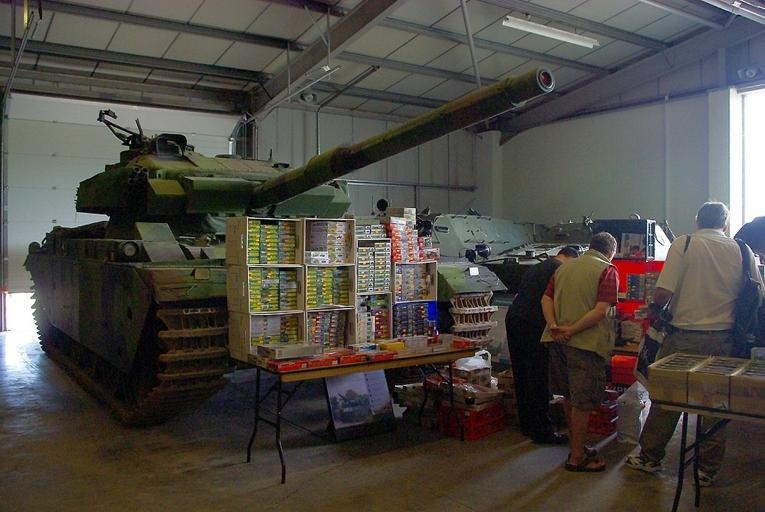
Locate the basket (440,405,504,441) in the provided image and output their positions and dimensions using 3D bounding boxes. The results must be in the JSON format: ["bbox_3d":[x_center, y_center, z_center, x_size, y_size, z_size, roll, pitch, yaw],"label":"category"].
[{"bbox_3d":[1.117,2.131,7.867,0.445,0.270,0.658,-3,-4,30],"label":"basket"}]

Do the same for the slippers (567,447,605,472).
[{"bbox_3d":[2.292,2.310,6.913,0.405,0.163,0.207,-2,0,-12],"label":"slippers"}]

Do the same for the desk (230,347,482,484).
[{"bbox_3d":[-0.648,1.682,7.635,2.878,1.383,2.305,5,10,35],"label":"desk"}]

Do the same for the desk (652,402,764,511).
[{"bbox_3d":[3.176,2.054,6.286,1.110,1.045,1.154,-5,-9,40],"label":"desk"}]

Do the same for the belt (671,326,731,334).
[{"bbox_3d":[3.476,0.845,6.681,0.613,0.085,0.098,1,8,14],"label":"belt"}]

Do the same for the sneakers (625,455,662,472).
[{"bbox_3d":[2.935,2.347,6.858,0.353,0.163,0.168,8,1,32],"label":"sneakers"}]

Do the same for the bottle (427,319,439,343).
[{"bbox_3d":[0.753,1.019,8.333,0.171,0.288,0.173,-1,2,0],"label":"bottle"}]

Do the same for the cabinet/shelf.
[{"bbox_3d":[-0.717,0.396,7.569,1.754,1.198,0.490,1,-4,-35],"label":"cabinet/shelf"}]

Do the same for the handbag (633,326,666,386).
[{"bbox_3d":[2.970,1.171,6.849,0.222,0.645,0.511,10,5,14],"label":"handbag"}]
